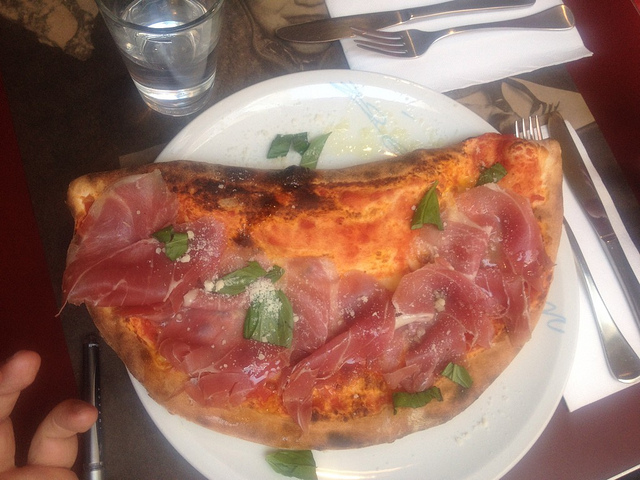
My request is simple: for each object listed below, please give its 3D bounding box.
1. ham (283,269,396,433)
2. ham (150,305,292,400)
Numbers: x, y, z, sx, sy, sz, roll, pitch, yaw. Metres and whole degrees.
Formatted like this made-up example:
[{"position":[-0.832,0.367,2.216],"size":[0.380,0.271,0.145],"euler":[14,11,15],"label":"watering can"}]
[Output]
[{"position":[0.083,0.362,2.071],"size":[0.343,0.254,0.633],"euler":[3,101,-9],"label":"ham"},{"position":[-0.451,0.514,2.128],"size":[0.659,0.449,0.168],"euler":[-3,83,37],"label":"ham"}]
